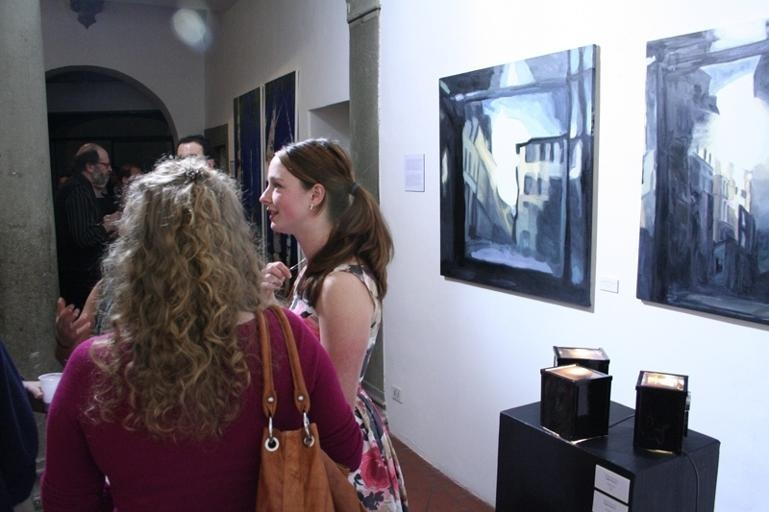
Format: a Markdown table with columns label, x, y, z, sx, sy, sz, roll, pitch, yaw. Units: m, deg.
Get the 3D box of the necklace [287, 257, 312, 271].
| label | x | y | z | sx | sy | sz | roll | pitch | yaw |
| --- | --- | --- | --- | --- | --- | --- | --- | --- | --- |
| necklace | -0.623 | 0.054 | 4.340 | 0.104 | 0.033 | 0.094 | -34 | 14 | 13 |
